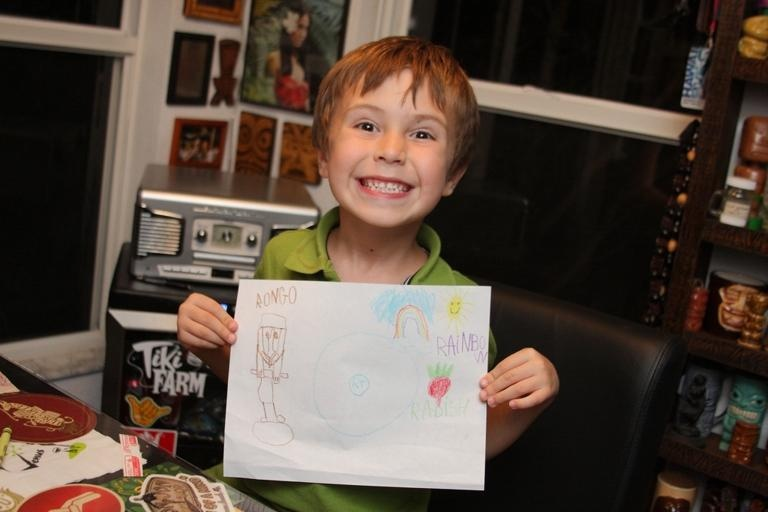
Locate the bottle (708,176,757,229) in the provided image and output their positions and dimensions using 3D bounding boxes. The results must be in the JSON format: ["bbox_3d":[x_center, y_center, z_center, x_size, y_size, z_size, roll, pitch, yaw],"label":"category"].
[{"bbox_3d":[0.979,-0.153,1.650,0.102,0.133,0.102,5,11,-1],"label":"bottle"}]
